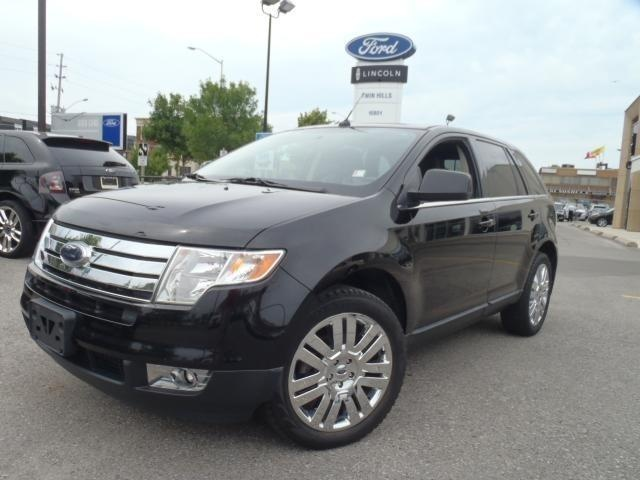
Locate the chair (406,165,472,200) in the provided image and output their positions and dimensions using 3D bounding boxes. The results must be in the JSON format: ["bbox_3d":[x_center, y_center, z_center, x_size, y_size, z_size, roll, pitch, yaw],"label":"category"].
[{"bbox_3d":[0.817,-0.354,3.112,0.348,0.195,0.209,-11,2,0],"label":"chair"}]
